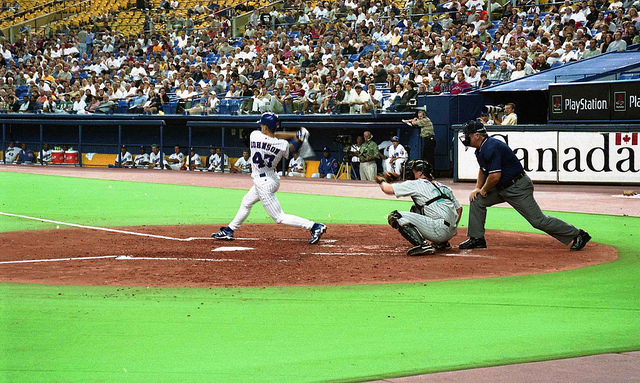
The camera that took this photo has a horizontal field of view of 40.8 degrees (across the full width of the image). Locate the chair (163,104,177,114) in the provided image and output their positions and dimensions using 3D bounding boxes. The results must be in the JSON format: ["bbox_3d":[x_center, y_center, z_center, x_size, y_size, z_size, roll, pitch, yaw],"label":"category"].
[{"bbox_3d":[-6.251,-3.494,36.041,0.578,0.330,0.402,-1,5,-1],"label":"chair"}]

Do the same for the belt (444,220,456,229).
[{"bbox_3d":[2.727,0.696,18.218,0.108,0.041,0.365,-25,-45,28],"label":"belt"}]

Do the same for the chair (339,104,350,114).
[{"bbox_3d":[0.911,-2.975,31.112,0.494,0.397,0.317,0,-3,11],"label":"chair"}]

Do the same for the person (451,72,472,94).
[{"bbox_3d":[4.884,-3.755,29.851,0.467,0.654,0.831,-13,12,-36],"label":"person"}]

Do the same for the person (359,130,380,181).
[{"bbox_3d":[1.746,-1.268,30.537,0.702,1.765,1.070,0,-1,4],"label":"person"}]

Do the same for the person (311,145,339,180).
[{"bbox_3d":[0.114,-0.929,32.171,1.195,1.345,0.896,-1,3,10],"label":"person"}]

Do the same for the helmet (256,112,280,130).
[{"bbox_3d":[-1.169,-1.609,19.172,0.474,0.229,0.324,25,20,21],"label":"helmet"}]

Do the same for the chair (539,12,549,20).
[{"bbox_3d":[8.370,-6.680,32.382,0.373,0.347,0.460,-3,-9,15],"label":"chair"}]

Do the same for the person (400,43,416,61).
[{"bbox_3d":[3.329,-5.283,32.335,0.506,0.614,0.790,10,-1,-16],"label":"person"}]

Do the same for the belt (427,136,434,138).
[{"bbox_3d":[3.786,-1.892,29.558,0.196,0.047,0.058,0,-1,-19],"label":"belt"}]

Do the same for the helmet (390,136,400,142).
[{"bbox_3d":[2.651,-1.858,30.253,0.313,0.141,0.394,1,4,-1],"label":"helmet"}]

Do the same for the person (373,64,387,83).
[{"bbox_3d":[2.214,-4.424,31.963,0.497,0.710,0.307,0,-1,6],"label":"person"}]
